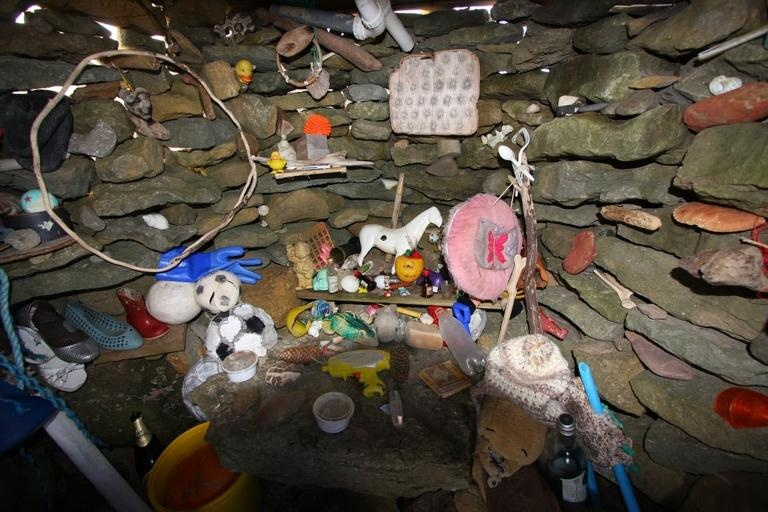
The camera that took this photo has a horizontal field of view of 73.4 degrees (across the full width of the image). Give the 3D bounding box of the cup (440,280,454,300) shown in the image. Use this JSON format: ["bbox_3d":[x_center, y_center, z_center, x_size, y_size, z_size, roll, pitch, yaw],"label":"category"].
[{"bbox_3d":[0.609,0.332,5.057,0.146,0.148,0.153,-2,19,1],"label":"cup"}]

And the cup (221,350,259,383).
[{"bbox_3d":[-1.266,0.972,4.565,0.274,0.118,0.274,2,24,-1],"label":"cup"}]

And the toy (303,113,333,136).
[{"bbox_3d":[-0.642,-1.292,5.050,0.246,0.228,0.119,19,-20,1],"label":"toy"}]

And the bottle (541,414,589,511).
[{"bbox_3d":[1.452,1.590,4.089,0.334,0.804,0.231,-6,21,-10],"label":"bottle"}]

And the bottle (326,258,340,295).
[{"bbox_3d":[-0.525,0.178,5.275,0.121,0.290,0.330,-5,19,-7],"label":"bottle"}]

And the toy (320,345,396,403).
[{"bbox_3d":[-0.250,1.048,4.708,0.605,0.267,0.484,0,19,6],"label":"toy"}]

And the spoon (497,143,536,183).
[{"bbox_3d":[1.222,-0.796,4.616,0.102,0.182,0.571,22,-14,45],"label":"spoon"}]

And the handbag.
[{"bbox_3d":[0.907,1.555,4.208,0.653,0.723,0.254,3,15,-28],"label":"handbag"}]

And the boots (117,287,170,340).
[{"bbox_3d":[-2.251,0.528,4.801,0.252,0.634,0.195,-38,4,-21],"label":"boots"}]

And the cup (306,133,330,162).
[{"bbox_3d":[-0.659,-1.071,5.012,0.202,0.240,0.237,-1,19,4],"label":"cup"}]

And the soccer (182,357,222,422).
[{"bbox_3d":[-1.643,1.172,4.614,0.480,0.483,0.212,5,-18,-2],"label":"soccer"}]

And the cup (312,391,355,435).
[{"bbox_3d":[-0.412,1.320,4.333,0.345,0.256,0.276,-4,19,-7],"label":"cup"}]

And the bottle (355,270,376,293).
[{"bbox_3d":[-0.198,0.258,5.197,0.115,0.109,0.186,15,18,-45],"label":"bottle"}]

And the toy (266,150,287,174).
[{"bbox_3d":[-0.983,-0.883,4.799,0.192,0.182,0.152,-10,21,-20],"label":"toy"}]
